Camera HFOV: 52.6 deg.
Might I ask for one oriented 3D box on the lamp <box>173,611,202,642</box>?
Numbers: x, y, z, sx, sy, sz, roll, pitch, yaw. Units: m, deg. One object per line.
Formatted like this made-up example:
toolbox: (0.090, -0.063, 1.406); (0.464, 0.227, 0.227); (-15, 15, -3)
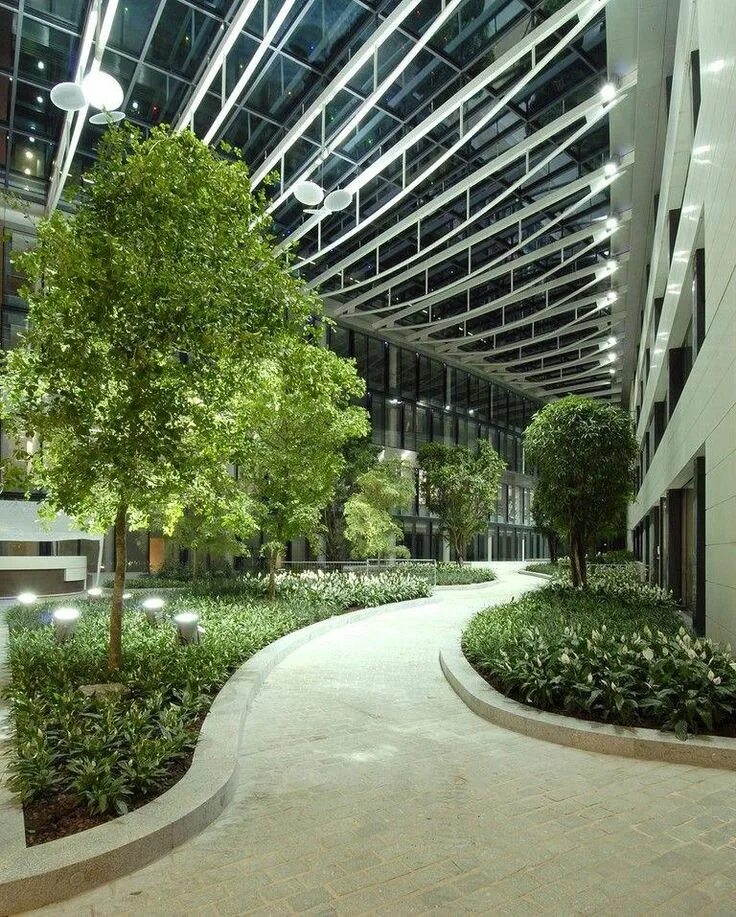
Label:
lamp: (-2.508, 2.310, 10.091); (0.366, 0.416, 0.371); (-1, -4, 6)

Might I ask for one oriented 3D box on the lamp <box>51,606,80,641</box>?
lamp: (-4.431, 2.447, 10.857); (0.289, 0.418, 0.559); (3, -8, -25)
